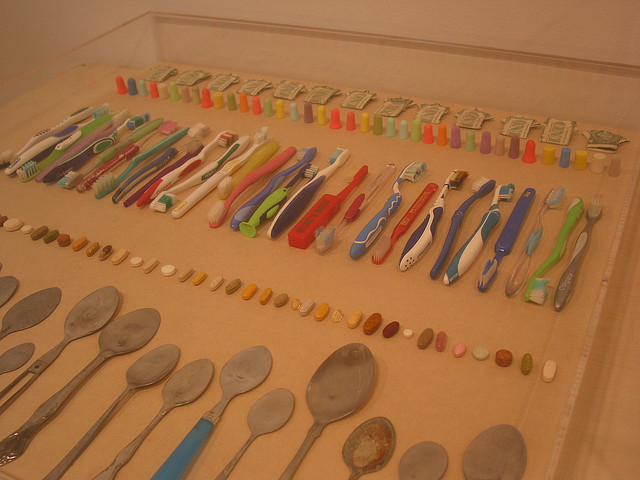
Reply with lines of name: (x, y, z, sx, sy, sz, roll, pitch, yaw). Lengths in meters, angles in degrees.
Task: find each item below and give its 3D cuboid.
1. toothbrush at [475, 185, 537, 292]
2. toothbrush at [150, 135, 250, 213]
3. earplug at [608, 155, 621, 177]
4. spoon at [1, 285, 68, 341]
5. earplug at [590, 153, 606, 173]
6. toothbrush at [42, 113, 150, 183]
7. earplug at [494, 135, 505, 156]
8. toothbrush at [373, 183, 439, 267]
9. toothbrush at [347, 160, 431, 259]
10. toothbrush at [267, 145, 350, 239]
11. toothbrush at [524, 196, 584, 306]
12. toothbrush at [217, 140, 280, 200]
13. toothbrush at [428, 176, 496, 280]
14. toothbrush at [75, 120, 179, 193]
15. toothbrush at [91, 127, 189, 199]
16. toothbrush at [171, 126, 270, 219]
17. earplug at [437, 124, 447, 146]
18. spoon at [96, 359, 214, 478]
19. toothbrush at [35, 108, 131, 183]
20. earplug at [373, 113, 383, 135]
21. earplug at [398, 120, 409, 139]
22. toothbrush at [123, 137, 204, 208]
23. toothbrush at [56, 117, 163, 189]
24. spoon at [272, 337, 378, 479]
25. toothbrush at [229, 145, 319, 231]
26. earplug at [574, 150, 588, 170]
toothbrush: (0.445, 0.007, 1.292, 0.031, 0.301, 0.034, 3, -41, 38)
toothbrush: (-0.345, -0.183, 1.573, 0.040, 0.361, 0.037, 6, -48, 42)
earplug: (0.804, -0.199, 1.474, 0.027, 0.055, 0.037, 10, -38, 23)
spoon: (-0.642, 0.153, 1.255, 0.057, 0.201, 0.010, 26, -51, 12)
earplug: (0.768, -0.213, 1.494, 0.036, 0.060, 0.048, 9, -39, 25)
toothbrush: (-0.653, -0.314, 1.837, 0.086, 0.614, 0.054, 19, -49, 23)
earplug: (0.526, -0.273, 1.582, 0.028, 0.044, 0.042, 9, -39, 25)
toothbrush: (0.216, -0.028, 1.346, 0.028, 0.282, 0.035, 10, -44, 29)
toothbrush: (0.222, -0.076, 1.439, 0.091, 0.563, 0.068, 8, -51, 27)
toothbrush: (0.021, -0.147, 1.544, 0.082, 0.612, 0.049, 11, -52, 22)
toothbrush: (0.545, 0.036, 1.257, 0.042, 0.280, 0.024, 1, -38, 44)
toothbrush: (-0.190, -0.221, 1.638, 0.070, 0.361, 0.054, 31, -43, 0)
toothbrush: (0.350, -0.019, 1.324, 0.051, 0.305, 0.047, 6, -44, 40)
toothbrush: (-0.596, -0.248, 1.673, 0.048, 0.383, 0.035, 13, -47, 37)
toothbrush: (-0.545, -0.225, 1.643, 0.065, 0.363, 0.050, 54, -26, -6)
toothbrush: (-0.285, -0.185, 1.568, 0.042, 0.426, 0.062, 11, -45, 29)
earplug: (0.374, -0.320, 1.648, 0.032, 0.054, 0.063, 12, -38, 22)
spoon: (-0.296, 0.337, 1.023, 0.094, 0.271, 0.024, 17, -35, 14)
toothbrush: (-0.755, -0.292, 1.736, 0.045, 0.480, 0.071, 10, -55, 25)
earplug: (0.182, -0.362, 1.712, 0.033, 0.037, 0.060, 12, -39, 22)
earplug: (0.261, -0.340, 1.688, 0.035, 0.035, 0.060, 51, -23, 44)
toothbrush: (-0.458, -0.190, 1.594, 0.041, 0.295, 0.050, 18, -37, 27)
toothbrush: (-0.656, -0.262, 1.694, 0.053, 0.388, 0.044, 25, -41, 28)
spoon: (0.021, 0.299, 1.021, 0.091, 0.337, 0.040, 13, -39, 27)
toothbrush: (-0.056, -0.164, 1.594, 0.091, 0.549, 0.100, -2, -61, 36)
earplug: (0.731, -0.227, 1.514, 0.031, 0.067, 0.058, 5, -40, 29)
